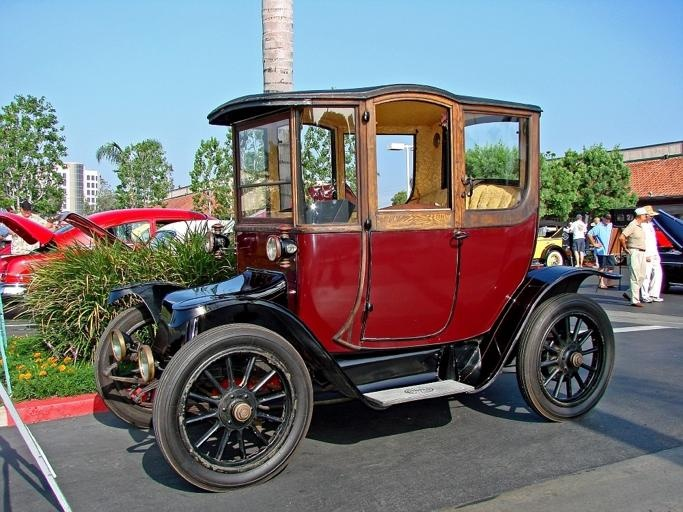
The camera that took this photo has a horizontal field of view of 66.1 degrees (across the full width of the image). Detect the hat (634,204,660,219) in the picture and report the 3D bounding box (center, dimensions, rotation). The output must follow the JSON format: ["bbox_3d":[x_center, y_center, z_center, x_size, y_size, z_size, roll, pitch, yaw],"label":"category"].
[{"bbox_3d":[6.842,-1.008,11.973,0.715,0.242,0.541,3,9,33],"label":"hat"}]

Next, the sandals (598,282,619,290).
[{"bbox_3d":[7.785,0.879,15.299,0.633,0.248,0.209,-1,4,-15],"label":"sandals"}]

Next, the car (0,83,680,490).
[{"bbox_3d":[0.192,0.117,5.593,4.706,3.027,2.776,0,1,-29],"label":"car"}]

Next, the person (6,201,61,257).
[{"bbox_3d":[-5.831,-0.279,10.107,0.932,0.905,0.577,16,10,25],"label":"person"}]
